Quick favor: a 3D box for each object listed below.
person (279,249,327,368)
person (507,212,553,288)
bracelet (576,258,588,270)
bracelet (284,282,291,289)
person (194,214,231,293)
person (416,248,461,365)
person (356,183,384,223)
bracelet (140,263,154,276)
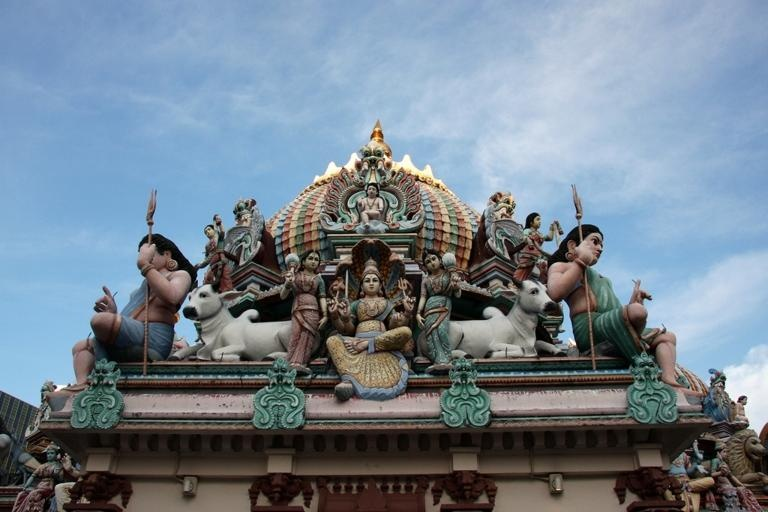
[{"bbox_3d":[-2.016,1.488,30.145,1.090,3.257,0.858,2,-27,-5],"label":"person"},{"bbox_3d":[4.411,-0.231,34.035,1.243,2.402,1.032,-4,-28,7],"label":"person"},{"bbox_3d":[5.191,0.193,30.482,0.238,0.090,0.244,32,-13,26],"label":"bracelet"},{"bbox_3d":[-2.509,0.770,30.479,0.155,0.153,0.152,5,-14,14],"label":"bracelet"},{"bbox_3d":[-4.522,0.203,31.464,0.615,1.846,0.913,18,-69,-20],"label":"person"},{"bbox_3d":[1.405,1.400,30.159,1.113,3.331,0.628,-2,-27,1],"label":"person"},{"bbox_3d":[-0.384,-1.507,34.273,0.716,1.520,0.853,-3,-51,3],"label":"person"},{"bbox_3d":[-6.059,0.338,29.901,0.283,0.109,0.285,-12,-38,-41],"label":"bracelet"}]
